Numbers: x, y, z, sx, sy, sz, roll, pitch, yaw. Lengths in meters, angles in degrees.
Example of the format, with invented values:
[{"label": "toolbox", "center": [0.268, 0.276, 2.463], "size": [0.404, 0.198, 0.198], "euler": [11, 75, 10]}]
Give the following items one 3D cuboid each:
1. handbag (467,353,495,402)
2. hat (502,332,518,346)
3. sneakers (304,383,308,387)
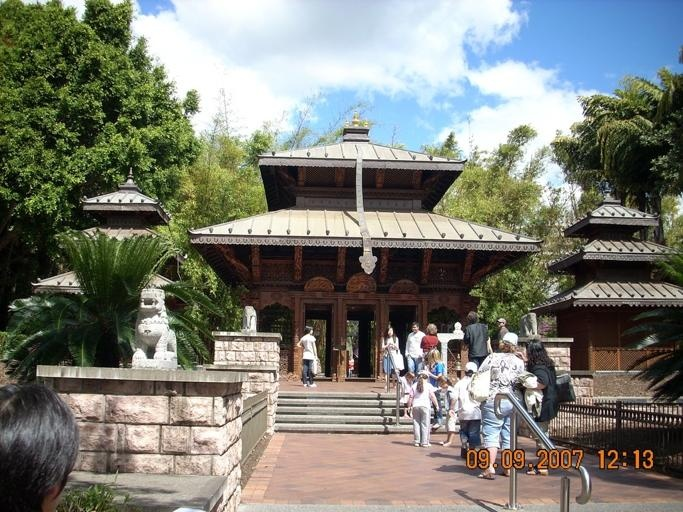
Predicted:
[{"label": "handbag", "center": [2.365, 2.060, 10.246], "size": [0.396, 1.062, 0.471], "euler": [12, -36, 11]}, {"label": "hat", "center": [2.864, 1.393, 10.232], "size": [0.173, 0.142, 0.268], "euler": [3, 3, 13]}, {"label": "sneakers", "center": [-1.162, 4.172, 19.567], "size": [0.044, 0.157, 0.061], "euler": [-7, 3, 8]}]
